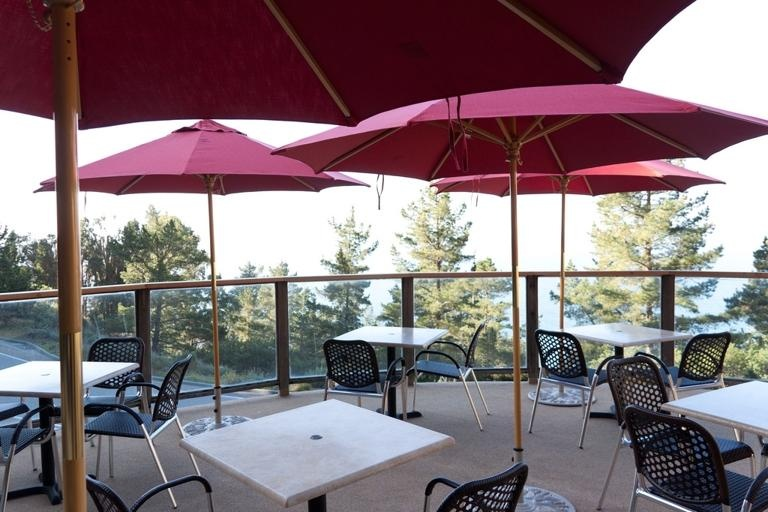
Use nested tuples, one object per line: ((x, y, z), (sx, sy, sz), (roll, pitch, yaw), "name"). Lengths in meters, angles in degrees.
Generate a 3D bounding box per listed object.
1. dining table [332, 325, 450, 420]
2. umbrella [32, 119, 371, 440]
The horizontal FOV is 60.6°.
((0.147, 0.963, 6.672), (0.964, 0.937, 0.979), (4, 10, 28), "dining table")
((-1.289, 0.030, 6.673), (2.866, 2.605, 2.946), (-4, 5, 0), "umbrella")
